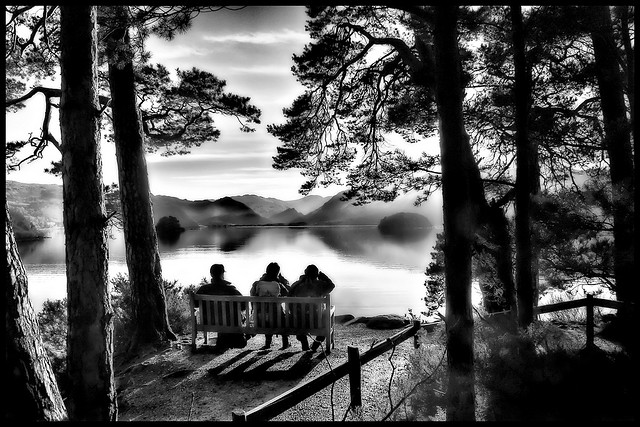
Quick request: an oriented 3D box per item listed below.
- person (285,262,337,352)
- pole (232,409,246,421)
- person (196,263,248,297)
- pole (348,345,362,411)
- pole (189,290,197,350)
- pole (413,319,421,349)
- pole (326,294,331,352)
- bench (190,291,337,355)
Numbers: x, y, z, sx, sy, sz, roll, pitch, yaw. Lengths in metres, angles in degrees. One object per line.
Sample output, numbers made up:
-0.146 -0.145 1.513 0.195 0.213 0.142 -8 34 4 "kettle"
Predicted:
-0.217 1.983 12.587 0.996 1.701 0.636 -2 -1 0 "person"
-1.250 3.096 9.340 0.194 0.153 0.069 -2 -1 -16 "pole"
-2.188 1.436 12.986 1.040 0.697 0.514 -1 0 18 "person"
0.615 2.865 10.678 0.219 1.077 0.375 -2 -1 2 "pole"
-2.691 2.267 12.892 0.136 1.086 0.443 -2 -1 -13 "pole"
1.952 2.415 12.160 0.145 0.564 0.536 -2 -1 9 "pole"
0.170 2.273 12.543 0.126 1.116 0.286 -2 -1 0 "pole"
-1.196 2.244 13.017 2.946 1.567 0.952 0 10 7 "bench"
